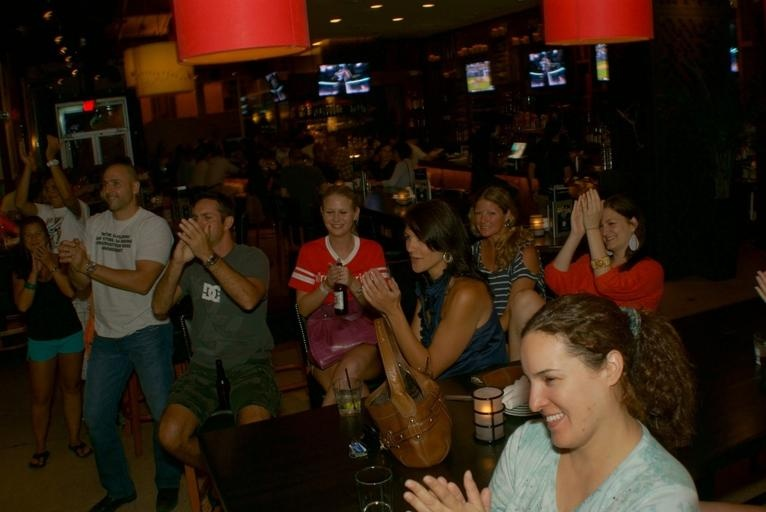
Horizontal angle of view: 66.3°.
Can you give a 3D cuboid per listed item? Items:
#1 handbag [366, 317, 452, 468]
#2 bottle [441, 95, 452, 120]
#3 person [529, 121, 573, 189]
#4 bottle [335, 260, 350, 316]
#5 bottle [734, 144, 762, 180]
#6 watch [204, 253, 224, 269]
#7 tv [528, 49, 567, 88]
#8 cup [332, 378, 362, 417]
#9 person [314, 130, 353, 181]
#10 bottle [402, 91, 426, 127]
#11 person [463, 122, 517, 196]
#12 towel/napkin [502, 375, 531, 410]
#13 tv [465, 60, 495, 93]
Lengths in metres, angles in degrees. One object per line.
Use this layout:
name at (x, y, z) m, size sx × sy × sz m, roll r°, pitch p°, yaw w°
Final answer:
handbag at (0.136, 0.628, 2.691) m, size 0.319 × 0.614 × 0.507 m, roll -21°, pitch 1°, yaw 4°
bottle at (1.446, -3.391, 13.291) m, size 0.062 × 0.527 × 0.304 m, roll -15°, pitch 11°, yaw -43°
person at (2.404, -1.498, 8.565) m, size 0.602 × 1.005 × 0.853 m, roll -4°, pitch 9°, yaw 21°
bottle at (-0.293, 0.218, 3.995) m, size 0.102 × 0.319 × 0.360 m, roll -8°, pitch 8°, yaw -4°
bottle at (4.649, -1.169, 7.495) m, size 0.311 × 0.476 × 0.107 m, roll -10°, pitch 9°, yaw -21°
watch at (-1.067, 0.028, 3.722) m, size 0.111 × 0.075 × 0.101 m, roll -34°, pitch -18°, yaw -27°
tv at (3.052, -3.456, 10.771) m, size 0.079 × 0.719 × 0.758 m, roll -14°, pitch 12°, yaw -35°
cup at (-0.163, 0.691, 2.907) m, size 0.166 × 0.142 × 0.147 m, roll -6°, pitch 11°, yaw -13°
person at (-1.050, -2.146, 12.394) m, size 0.787 × 1.058 × 1.185 m, roll -8°, pitch 8°, yaw -5°
bottle at (0.747, -3.376, 13.490) m, size 0.459 × 0.798 × 0.120 m, roll -8°, pitch 8°, yaw -8°
person at (1.533, -1.477, 9.018) m, size 0.484 × 1.376 × 0.482 m, roll 1°, pitch 5°, yaw -37°
towel/napkin at (0.623, 0.646, 2.766) m, size 0.158 × 0.048 × 0.154 m, roll -14°, pitch 18°, yaw -31°
tv at (2.047, -3.742, 12.187) m, size 0.081 × 0.737 × 0.734 m, roll -8°, pitch 12°, yaw -37°
